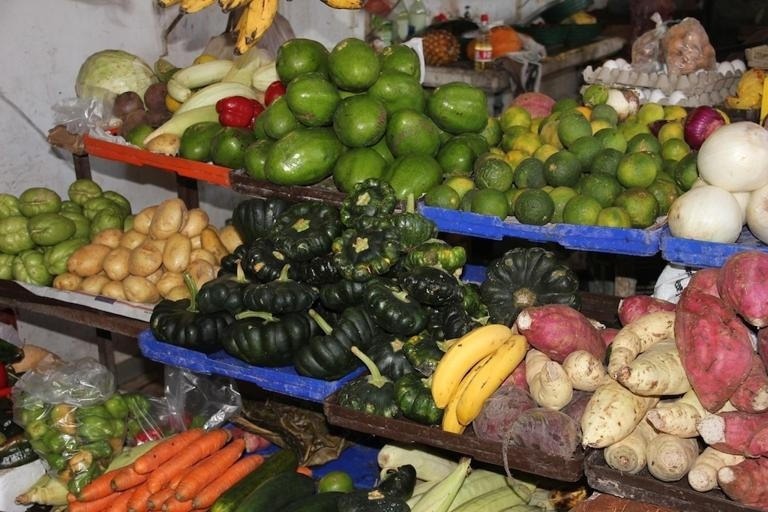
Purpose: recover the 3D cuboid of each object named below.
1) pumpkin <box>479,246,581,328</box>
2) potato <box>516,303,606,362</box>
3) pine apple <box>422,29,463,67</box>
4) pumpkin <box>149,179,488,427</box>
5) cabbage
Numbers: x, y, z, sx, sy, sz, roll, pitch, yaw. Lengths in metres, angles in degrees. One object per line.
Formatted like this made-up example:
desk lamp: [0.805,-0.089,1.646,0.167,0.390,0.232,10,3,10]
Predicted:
pumpkin: [0.789,0.146,3.617,0.443,0.184,0.458,-6,89,17]
potato: [0.915,0.377,3.327,0.423,0.237,0.249,14,111,-1]
pine apple: [0.647,-2.330,7.266,0.425,0.384,0.393,-10,84,13]
pumpkin: [-0.302,0.325,3.977,1.685,0.596,1.264,13,76,11]
cabbage: [-2.255,-1.466,5.403,0.701,0.484,0.466,1,73,20]
